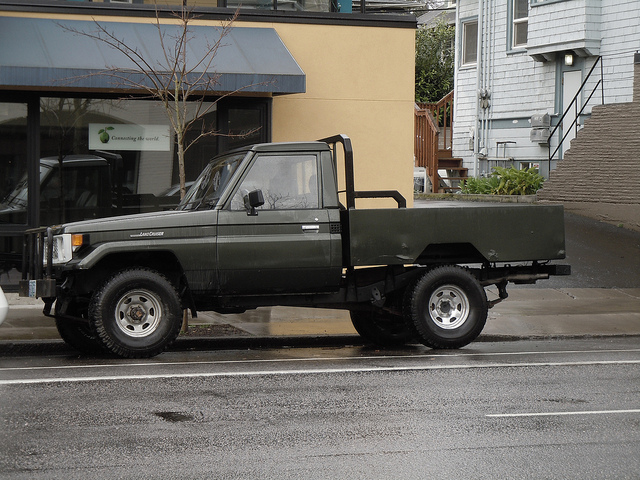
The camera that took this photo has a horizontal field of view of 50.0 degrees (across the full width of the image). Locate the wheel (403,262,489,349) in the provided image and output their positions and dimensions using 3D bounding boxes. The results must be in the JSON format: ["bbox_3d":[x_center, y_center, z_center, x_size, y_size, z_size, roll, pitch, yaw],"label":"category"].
[{"bbox_3d":[1.798,0.918,9.911,1.112,1.303,0.456,0,-2,-15],"label":"wheel"}]

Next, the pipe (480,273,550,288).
[{"bbox_3d":[3.141,0.649,11.112,0.965,0.199,0.412,-6,8,-1],"label":"pipe"}]

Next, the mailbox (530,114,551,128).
[{"bbox_3d":[8.048,-4.274,25.161,0.612,0.650,0.456,2,4,38],"label":"mailbox"}]

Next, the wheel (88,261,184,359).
[{"bbox_3d":[-2.411,0.914,9.186,1.142,1.354,0.417,-2,21,-12],"label":"wheel"}]
